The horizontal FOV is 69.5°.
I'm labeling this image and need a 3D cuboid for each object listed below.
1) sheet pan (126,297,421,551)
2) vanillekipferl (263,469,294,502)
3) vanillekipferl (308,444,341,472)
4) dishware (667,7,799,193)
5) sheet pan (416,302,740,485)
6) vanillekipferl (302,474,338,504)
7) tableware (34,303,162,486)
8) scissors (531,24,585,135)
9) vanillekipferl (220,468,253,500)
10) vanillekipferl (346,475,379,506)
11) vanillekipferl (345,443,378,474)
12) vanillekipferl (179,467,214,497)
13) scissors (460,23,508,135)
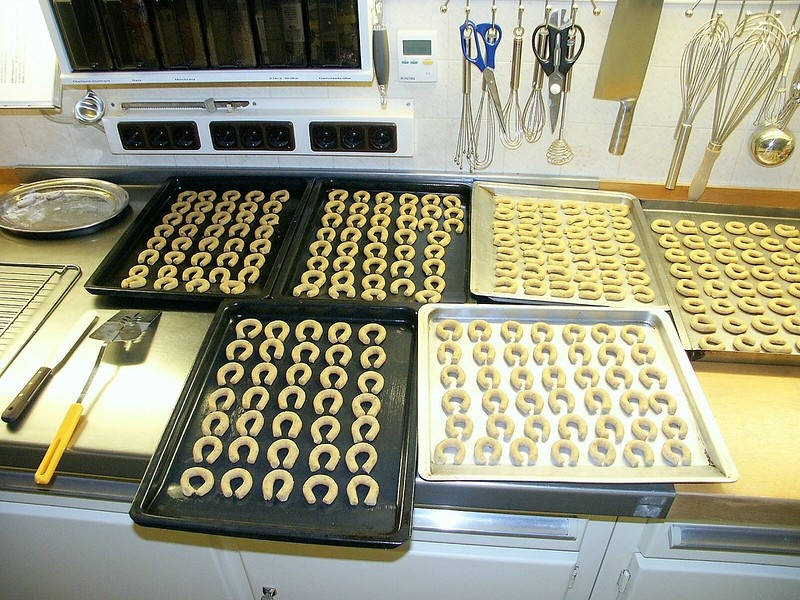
[{"bbox_3d":[-0.240,0.246,1.345,0.576,0.201,0.568,3,35,4],"label":"sheet pan"},{"bbox_3d":[-0.261,0.395,1.234,0.065,0.031,0.061,3,35,3],"label":"vanillekipferl"},{"bbox_3d":[-0.165,0.346,1.271,0.068,0.031,0.055,-1,35,-3],"label":"vanillekipferl"},{"bbox_3d":[0.913,-0.492,1.637,0.164,0.573,0.162,14,16,-11],"label":"dishware"},{"bbox_3d":[0.385,0.212,1.399,0.629,0.079,0.765,-1,23,8],"label":"sheet pan"},{"bbox_3d":[-0.170,0.402,1.228,0.073,0.033,0.059,-3,35,-5],"label":"vanillekipferl"},{"bbox_3d":[-0.734,0.216,1.425,0.126,0.061,0.446,8,39,-2],"label":"tableware"},{"bbox_3d":[0.451,-0.649,1.707,0.143,0.315,0.134,9,37,12],"label":"scissors"},{"bbox_3d":[-0.350,0.391,1.237,0.066,0.032,0.055,3,35,3],"label":"vanillekipferl"},{"bbox_3d":[-0.078,0.402,1.226,0.068,0.033,0.058,2,35,2],"label":"vanillekipferl"},{"bbox_3d":[-0.085,0.346,1.266,0.070,0.034,0.060,-1,35,-2],"label":"vanillekipferl"},{"bbox_3d":[-0.435,0.389,1.238,0.072,0.032,0.055,-2,35,-3],"label":"vanillekipferl"},{"bbox_3d":[0.258,-0.666,1.698,0.113,0.261,0.011,-13,35,15],"label":"scissors"}]
